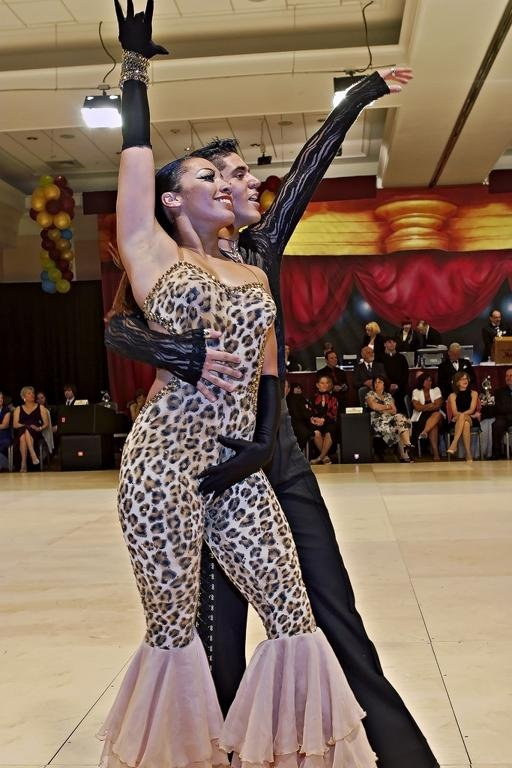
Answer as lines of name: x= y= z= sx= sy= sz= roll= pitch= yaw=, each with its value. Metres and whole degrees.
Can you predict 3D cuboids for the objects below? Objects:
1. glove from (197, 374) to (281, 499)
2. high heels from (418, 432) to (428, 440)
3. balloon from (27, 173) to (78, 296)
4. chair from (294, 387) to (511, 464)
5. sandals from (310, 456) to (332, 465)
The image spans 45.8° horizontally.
glove: x=-0.030 y=0.085 z=1.051 sx=0.065 sy=0.186 sz=0.140 roll=6 pitch=31 yaw=-5
high heels: x=2.633 y=0.830 z=9.569 sx=0.104 sy=0.138 sz=0.055 roll=32 pitch=-18 yaw=23
balloon: x=-3.594 y=-2.674 z=10.702 sx=0.685 sy=1.941 sz=0.923 roll=0 pitch=3 yaw=-19
chair: x=2.063 y=0.829 z=9.736 sx=2.378 sy=1.206 sz=1.040 roll=-1 pitch=-15 yaw=0
sandals: x=1.018 y=1.191 z=9.421 sx=0.359 sy=0.144 sz=0.124 roll=1 pitch=-3 yaw=33
